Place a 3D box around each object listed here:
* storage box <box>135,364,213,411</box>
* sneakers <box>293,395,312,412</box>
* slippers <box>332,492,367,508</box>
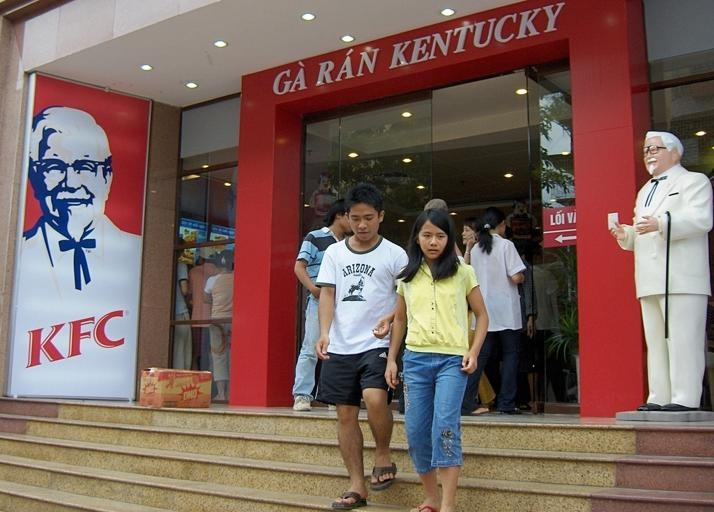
[{"bbox_3d":[-1.985,1.387,6.515,0.859,0.472,0.472,17,-43,-39],"label":"storage box"},{"bbox_3d":[-0.569,1.528,6.178,0.170,0.153,0.362,3,-17,-7],"label":"sneakers"},{"bbox_3d":[-0.058,1.623,3.964,0.106,0.070,0.192,-11,-19,33],"label":"slippers"}]
